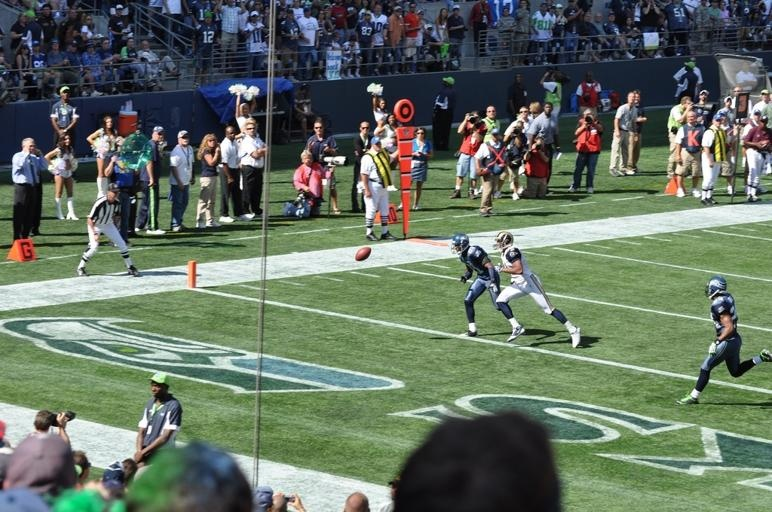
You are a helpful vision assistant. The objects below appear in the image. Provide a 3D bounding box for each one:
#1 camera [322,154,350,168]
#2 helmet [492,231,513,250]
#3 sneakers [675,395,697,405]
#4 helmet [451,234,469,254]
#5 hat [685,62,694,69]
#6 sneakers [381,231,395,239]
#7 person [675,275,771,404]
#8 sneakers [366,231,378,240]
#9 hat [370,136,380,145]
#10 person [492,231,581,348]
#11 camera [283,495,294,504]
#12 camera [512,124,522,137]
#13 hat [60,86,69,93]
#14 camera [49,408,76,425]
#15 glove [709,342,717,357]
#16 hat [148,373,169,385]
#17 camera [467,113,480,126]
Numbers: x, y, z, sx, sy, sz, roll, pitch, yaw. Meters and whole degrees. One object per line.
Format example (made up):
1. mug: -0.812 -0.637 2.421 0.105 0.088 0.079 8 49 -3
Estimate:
1. camera: -1.235 -2.271 31.913 0.408 0.131 0.310 8 30 21
2. helmet: 2.056 -0.280 24.201 0.435 0.305 0.341 3 8 16
3. sneakers: 4.838 2.333 21.689 0.385 0.124 0.118 -1 26 -3
4. helmet: 1.270 -0.236 24.275 0.423 0.296 0.303 5 21 13
5. hat: 9.559 -6.005 41.971 0.235 0.256 0.492 2 6 6
6. sneakers: 0.090 -0.479 30.397 0.317 0.180 0.519 3 7 18
7. person: 5.538 1.396 21.745 1.139 2.014 1.015 5 8 27
8. sneakers: -0.331 -0.459 30.151 0.241 0.198 0.249 1 7 -2
9. hat: -0.227 -2.555 29.620 0.201 0.165 0.212 1 7 -1
10. person: 2.663 0.711 23.948 1.430 1.732 0.593 2 7 6
11. camera: -1.269 3.142 17.264 0.151 0.086 0.036 10 2 36
12. camera: 3.297 -3.179 33.571 0.223 0.131 0.186 -13 42 -21
13. hat: -7.813 -4.040 32.394 0.275 0.106 0.374 -5 6 -18
14. camera: -4.484 2.231 18.424 0.430 0.310 0.137 -3 -12 -19
15. glove: 5.289 1.493 21.582 0.134 0.223 0.244 2 7 4
16. hat: -3.114 1.724 18.540 0.230 0.131 0.288 5 -6 27
17. camera: 2.173 -3.411 33.179 0.337 0.287 0.246 4 4 0
